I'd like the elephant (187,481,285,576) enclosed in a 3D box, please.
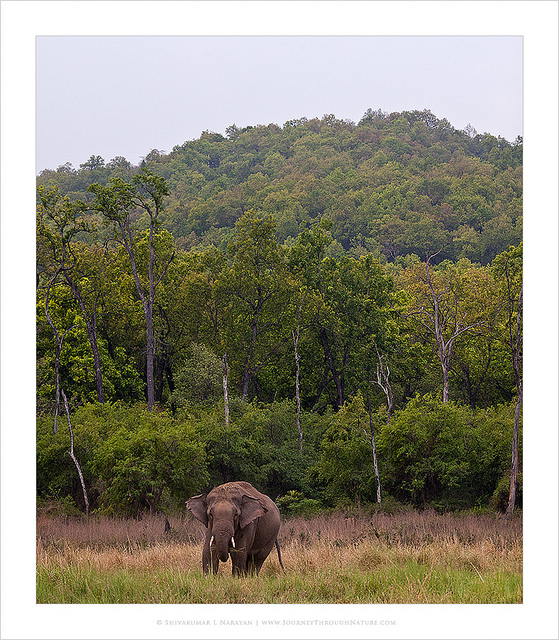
[{"bbox_3d":[-0.888,4.783,27.075,1.243,2.156,2.195,-4,-6,43],"label":"elephant"}]
